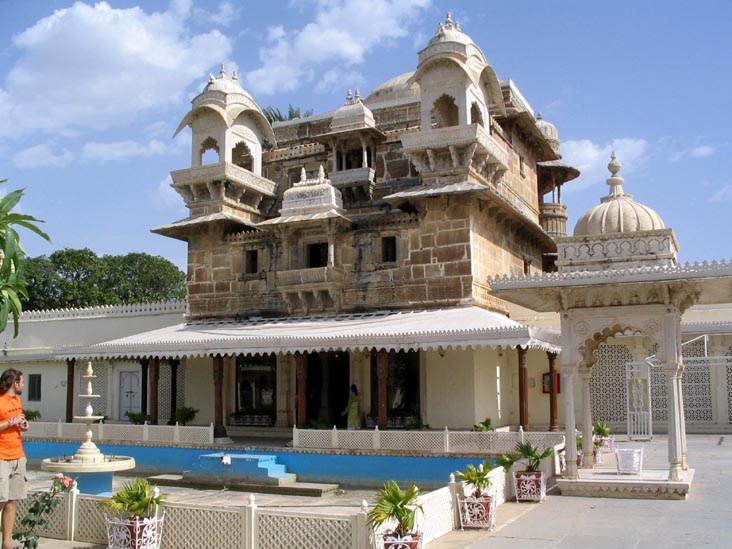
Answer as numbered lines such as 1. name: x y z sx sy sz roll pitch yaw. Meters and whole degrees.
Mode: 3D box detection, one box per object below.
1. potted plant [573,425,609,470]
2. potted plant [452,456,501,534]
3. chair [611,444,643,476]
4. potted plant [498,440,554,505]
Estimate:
1. potted plant: 5.646 4.242 26.573 0.945 0.770 0.985 -9 -12 44
2. potted plant: 2.242 4.453 21.560 0.885 1.215 0.958 0 -5 -24
3. chair: 5.898 4.011 23.835 0.726 0.828 0.823 2 -19 -3
4. potted plant: 3.412 4.301 23.557 1.230 1.356 1.161 -3 -18 15
